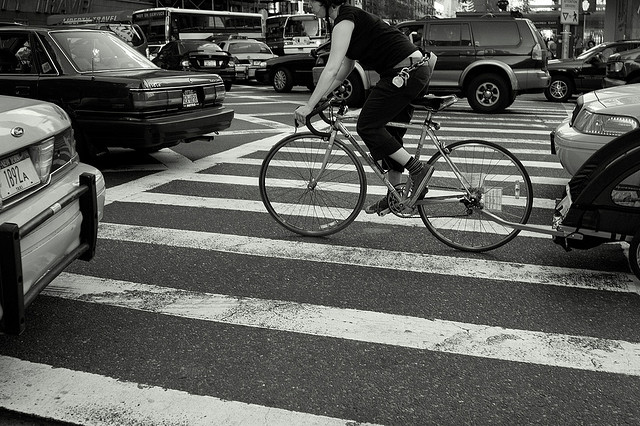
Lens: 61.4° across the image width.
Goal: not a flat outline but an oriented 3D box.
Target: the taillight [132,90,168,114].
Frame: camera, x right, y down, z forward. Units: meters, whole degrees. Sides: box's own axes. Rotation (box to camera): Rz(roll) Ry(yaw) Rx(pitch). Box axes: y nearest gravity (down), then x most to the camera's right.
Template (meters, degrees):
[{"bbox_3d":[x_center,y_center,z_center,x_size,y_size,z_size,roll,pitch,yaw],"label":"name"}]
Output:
[{"bbox_3d":[-2.531,-1.667,8.103,0.364,0.247,0.380,7,14,35],"label":"taillight"}]

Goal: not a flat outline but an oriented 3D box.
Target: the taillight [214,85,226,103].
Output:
[{"bbox_3d":[-1.778,-2.100,9.425,0.217,0.330,0.210,3,10,26],"label":"taillight"}]

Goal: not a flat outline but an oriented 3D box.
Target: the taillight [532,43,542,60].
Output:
[{"bbox_3d":[6.222,-4.634,15.440,0.295,0.416,0.190,-12,23,-27],"label":"taillight"}]

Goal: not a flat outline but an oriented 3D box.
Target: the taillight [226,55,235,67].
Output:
[{"bbox_3d":[-3.685,-6.316,22.442,0.266,0.407,0.559,2,23,7],"label":"taillight"}]

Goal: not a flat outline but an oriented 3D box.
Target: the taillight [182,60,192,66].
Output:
[{"bbox_3d":[-5.121,-5.806,20.813,0.332,0.212,0.251,-7,23,-16],"label":"taillight"}]

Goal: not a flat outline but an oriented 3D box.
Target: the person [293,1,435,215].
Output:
[{"bbox_3d":[0.541,-0.956,5.527,1.228,2.271,0.663,0,20,2],"label":"person"}]

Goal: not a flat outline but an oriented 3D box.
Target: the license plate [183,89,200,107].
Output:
[{"bbox_3d":[-2.090,-1.865,8.717,0.014,0.202,0.288,1,15,21],"label":"license plate"}]

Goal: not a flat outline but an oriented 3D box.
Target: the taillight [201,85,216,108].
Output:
[{"bbox_3d":[-1.874,-1.975,9.064,0.307,0.258,0.439,6,-23,-10],"label":"taillight"}]

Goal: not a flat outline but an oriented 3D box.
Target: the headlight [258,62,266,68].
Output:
[{"bbox_3d":[-2.388,-6.224,22.550,0.352,0.106,0.419,-3,37,5],"label":"headlight"}]

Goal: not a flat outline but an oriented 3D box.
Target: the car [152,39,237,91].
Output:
[{"bbox_3d":[-5.744,-6.101,23.550,2.624,2.043,5.893,-9,25,-28],"label":"car"}]

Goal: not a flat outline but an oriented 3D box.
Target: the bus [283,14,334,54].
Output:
[{"bbox_3d":[-1.072,-11.923,35.695,2.338,2.346,3.900,-11,25,-25],"label":"bus"}]

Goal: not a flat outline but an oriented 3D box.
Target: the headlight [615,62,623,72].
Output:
[{"bbox_3d":[9.055,-4.437,16.349,0.134,0.287,0.318,2,22,5],"label":"headlight"}]

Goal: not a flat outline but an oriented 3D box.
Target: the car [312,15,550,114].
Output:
[{"bbox_3d":[3.377,-4.259,17.051,7.297,3.365,3.682,5,21,9],"label":"car"}]
